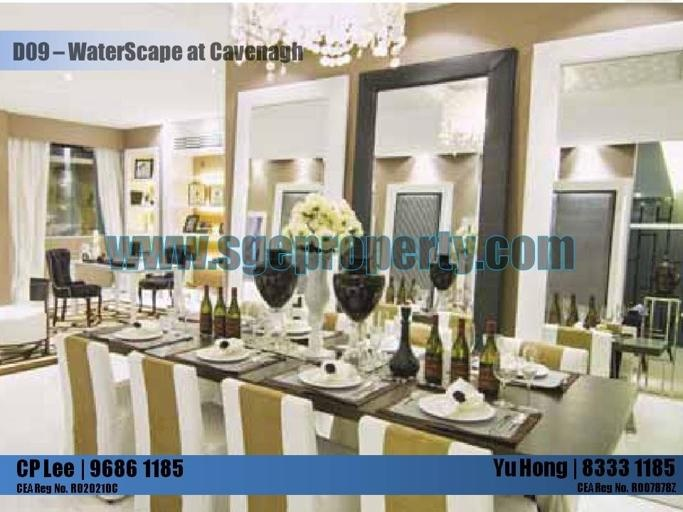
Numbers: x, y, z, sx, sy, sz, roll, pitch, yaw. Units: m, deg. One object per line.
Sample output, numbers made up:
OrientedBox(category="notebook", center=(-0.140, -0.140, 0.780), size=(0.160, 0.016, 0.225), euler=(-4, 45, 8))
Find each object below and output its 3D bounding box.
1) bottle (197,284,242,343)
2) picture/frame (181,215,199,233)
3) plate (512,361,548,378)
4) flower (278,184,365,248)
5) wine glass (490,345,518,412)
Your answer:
OrientedBox(category="bottle", center=(-0.603, 0.290, 2.720), size=(0.236, 0.296, 0.078), euler=(2, 4, 34))
OrientedBox(category="picture/frame", center=(-0.730, -0.157, 2.707), size=(0.039, 0.076, 0.069), euler=(14, 8, -23))
OrientedBox(category="plate", center=(0.730, 0.446, 2.181), size=(0.091, 0.030, 0.094), euler=(-2, -1, -15))
OrientedBox(category="flower", center=(-0.074, -0.175, 2.591), size=(0.231, 0.206, 0.289), euler=(2, 2, 5))
OrientedBox(category="wine glass", center=(0.628, 0.460, 2.171), size=(0.085, 0.204, 0.202), euler=(1, 2, 15))
